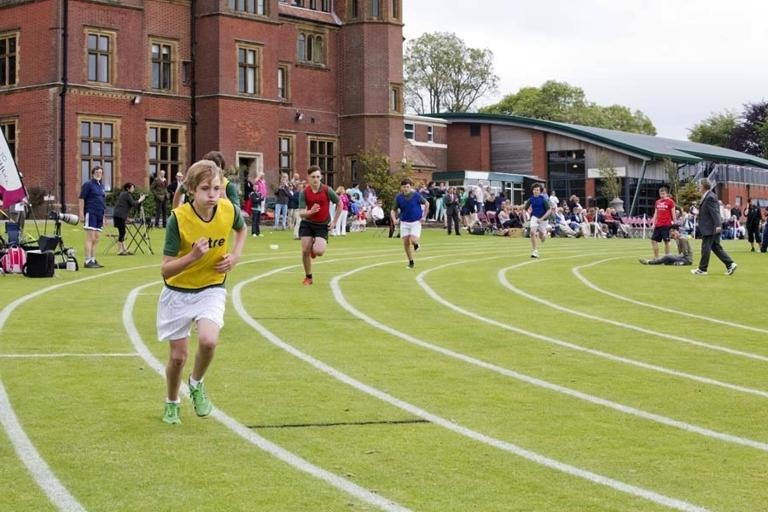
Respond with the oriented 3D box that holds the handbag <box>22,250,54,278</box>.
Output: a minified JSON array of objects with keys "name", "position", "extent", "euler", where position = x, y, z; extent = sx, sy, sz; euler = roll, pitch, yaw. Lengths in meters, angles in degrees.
[{"name":"handbag","position":[-7.410,0.168,19.748],"extent":[0.576,0.535,0.570],"euler":[0,-2,3]}]

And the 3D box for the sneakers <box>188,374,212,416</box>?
[{"name":"sneakers","position":[-1.883,1.452,9.454],"extent":[0.177,0.483,0.223],"euler":[-20,7,-10]}]

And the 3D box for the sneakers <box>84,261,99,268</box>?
[{"name":"sneakers","position":[-6.842,0.191,21.620],"extent":[0.247,0.087,0.192],"euler":[5,6,25]}]

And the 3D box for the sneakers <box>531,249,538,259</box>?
[{"name":"sneakers","position":[4.401,-0.063,26.801],"extent":[0.145,0.176,0.424],"euler":[-3,-5,14]}]

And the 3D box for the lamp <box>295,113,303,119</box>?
[{"name":"lamp","position":[-4.664,-7.828,51.608],"extent":[0.381,0.354,0.368],"euler":[0,-4,-8]}]

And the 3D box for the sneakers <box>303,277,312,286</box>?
[{"name":"sneakers","position":[-1.534,0.527,18.723],"extent":[0.147,0.167,0.425],"euler":[-1,-4,0]}]

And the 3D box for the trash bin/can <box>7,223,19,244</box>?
[{"name":"trash bin/can","position":[-8.221,-0.501,20.447],"extent":[0.249,0.508,0.407],"euler":[0,7,-18]}]

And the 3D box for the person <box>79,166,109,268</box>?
[{"name":"person","position":[-6.888,-0.928,21.791],"extent":[0.552,2.386,1.484],"euler":[0,7,-16]}]

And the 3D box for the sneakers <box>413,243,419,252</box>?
[{"name":"sneakers","position":[0.849,-0.250,24.018],"extent":[0.107,0.129,0.307],"euler":[-7,38,5]}]

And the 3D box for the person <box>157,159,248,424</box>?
[{"name":"person","position":[-1.844,0.388,9.186],"extent":[0.797,2.674,0.805],"euler":[2,7,2]}]

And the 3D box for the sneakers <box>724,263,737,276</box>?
[{"name":"sneakers","position":[8.674,0.341,22.987],"extent":[0.225,0.285,0.503],"euler":[4,7,18]}]

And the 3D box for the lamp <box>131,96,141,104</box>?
[{"name":"lamp","position":[-11.812,-7.468,44.071],"extent":[0.295,0.330,0.386],"euler":[0,-10,-3]}]

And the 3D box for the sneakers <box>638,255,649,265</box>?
[{"name":"sneakers","position":[7.362,0.145,26.060],"extent":[0.234,0.285,0.654],"euler":[-2,0,0]}]
